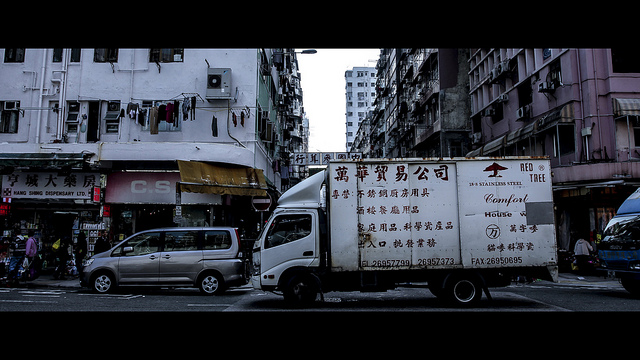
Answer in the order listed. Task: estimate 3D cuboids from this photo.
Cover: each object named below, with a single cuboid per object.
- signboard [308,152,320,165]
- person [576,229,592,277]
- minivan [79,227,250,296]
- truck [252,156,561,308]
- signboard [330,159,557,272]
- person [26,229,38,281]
[{"bbox_3d":[-0.500,-1.710,45.607,1.056,0.848,0.148,-5,13,33],"label":"signboard"},{"bbox_3d":[14.169,3.989,31.289,0.840,2.054,0.730,-7,-30,37],"label":"person"},{"bbox_3d":[-6.964,3.748,26.332,6.518,2.201,3.101,1,-9,-1],"label":"minivan"},{"bbox_3d":[3.523,2.167,24.129,11.977,4.931,4.072,-3,-8,14],"label":"truck"},{"bbox_3d":[4.321,1.254,24.500,8.810,3.891,4.514,0,-11,0],"label":"signboard"},{"bbox_3d":[-13.975,3.789,28.007,0.411,2.087,0.614,1,-6,-15],"label":"person"}]
